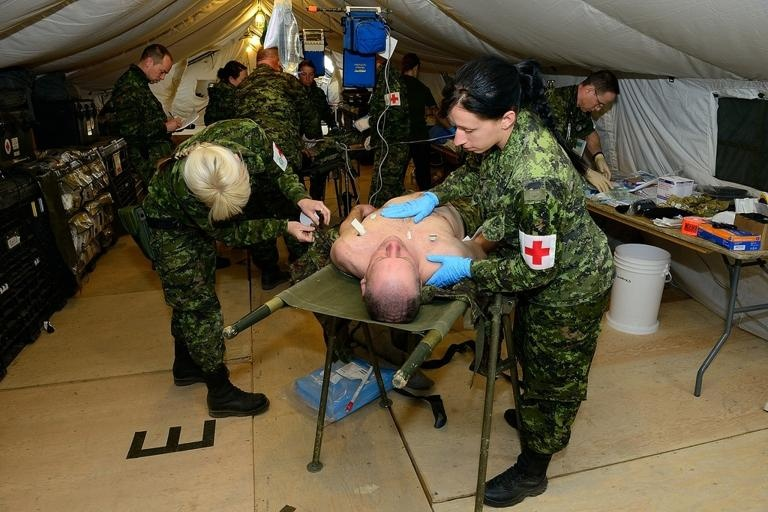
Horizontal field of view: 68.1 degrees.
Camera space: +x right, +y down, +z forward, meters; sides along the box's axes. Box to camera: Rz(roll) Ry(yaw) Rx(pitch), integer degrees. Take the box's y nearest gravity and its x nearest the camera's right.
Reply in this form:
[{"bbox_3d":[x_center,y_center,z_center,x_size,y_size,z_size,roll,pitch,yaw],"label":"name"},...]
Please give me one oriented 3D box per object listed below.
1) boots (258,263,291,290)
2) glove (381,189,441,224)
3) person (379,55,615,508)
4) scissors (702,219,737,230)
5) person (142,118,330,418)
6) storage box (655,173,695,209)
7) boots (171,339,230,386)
[{"bbox_3d":[-0.940,0.182,4.872,0.240,0.204,0.087,-20,56,-18],"label":"boots"},{"bbox_3d":[0.158,-0.260,3.113,0.283,0.071,0.169,-24,46,-21],"label":"glove"},{"bbox_3d":[0.640,0.161,2.971,0.783,2.263,0.902,-23,33,-30],"label":"person"},{"bbox_3d":[2.121,-0.189,3.593,0.180,0.031,0.103,15,31,32],"label":"scissors"},{"bbox_3d":[-0.958,0.124,3.665,1.451,2.162,0.785,-4,56,-20],"label":"person"},{"bbox_3d":[2.152,-0.479,4.178,0.234,0.197,0.218,-12,23,-26],"label":"storage box"},{"bbox_3d":[-1.340,0.742,3.941,0.175,0.339,0.378,-13,-12,8],"label":"boots"}]
